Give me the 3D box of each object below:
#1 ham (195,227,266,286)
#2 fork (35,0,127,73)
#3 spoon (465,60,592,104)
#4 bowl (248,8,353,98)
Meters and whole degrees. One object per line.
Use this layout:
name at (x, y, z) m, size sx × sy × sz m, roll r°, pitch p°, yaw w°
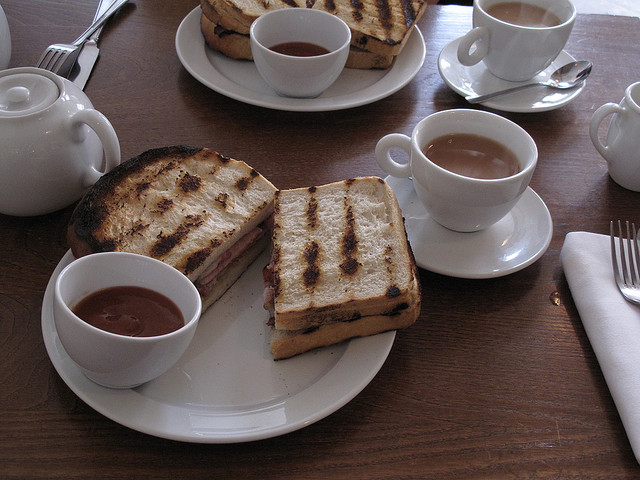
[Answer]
ham at (-0.251, 0.022, 1.337) m, size 0.146 × 0.107 × 0.193 m, roll -18°, pitch 33°, yaw -41°
fork at (-0.795, -0.668, 1.754) m, size 0.079 × 0.063 × 0.559 m, roll 26°, pitch 50°, yaw -1°
spoon at (0.675, -0.491, 1.690) m, size 0.451 × 0.061 × 0.094 m, roll -20°, pitch 62°, yaw -14°
bowl at (-0.100, -0.554, 1.673) m, size 0.306 × 0.179 × 0.299 m, roll 4°, pitch 51°, yaw -5°
